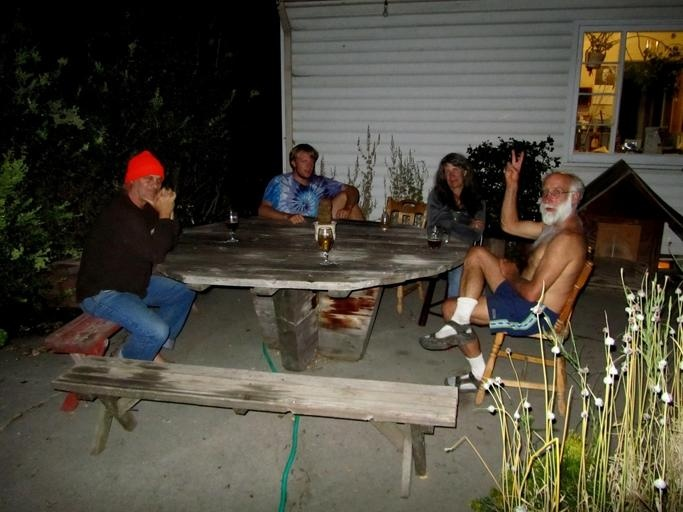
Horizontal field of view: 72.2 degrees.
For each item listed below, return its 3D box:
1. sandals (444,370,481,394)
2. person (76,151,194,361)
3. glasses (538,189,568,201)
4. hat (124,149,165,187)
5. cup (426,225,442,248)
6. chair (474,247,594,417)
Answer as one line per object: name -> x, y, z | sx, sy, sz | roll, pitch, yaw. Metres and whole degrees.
sandals -> 0.986, 1.044, 3.830 | 0.338, 0.154, 0.202 | 0, 31, 18
person -> -1.587, 0.066, 3.646 | 0.852, 1.732, 0.699 | -5, 13, -30
glasses -> 1.601, -0.464, 3.527 | 0.193, 0.108, 0.081 | 8, 13, 30
hat -> -1.527, -0.710, 3.671 | 0.255, 0.241, 0.260 | -10, -5, -14
cup -> 0.747, -0.166, 3.779 | 0.157, 0.189, 0.162 | 0, 4, 0
chair -> 1.444, 0.552, 3.666 | 0.897, 1.123, 0.943 | -2, 10, -10
